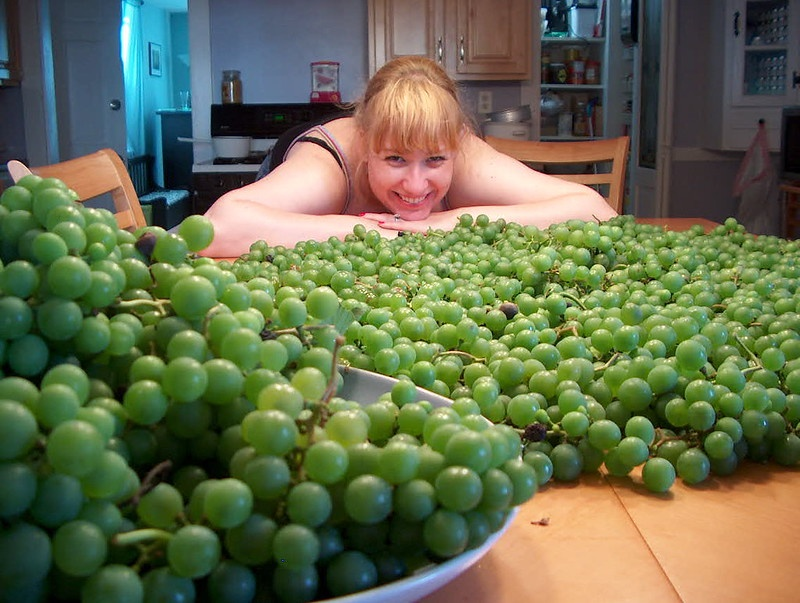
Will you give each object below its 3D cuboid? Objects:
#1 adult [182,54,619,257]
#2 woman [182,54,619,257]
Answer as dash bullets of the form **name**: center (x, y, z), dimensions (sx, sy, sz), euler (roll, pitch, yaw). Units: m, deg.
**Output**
- **adult**: center (0.006, -0.483, 2.167), dimensions (1.120, 0.593, 1.223), euler (0, 9, -5)
- **woman**: center (-0.107, -0.462, 2.143), dimensions (1.262, 0.638, 1.338), euler (-13, 15, -28)
